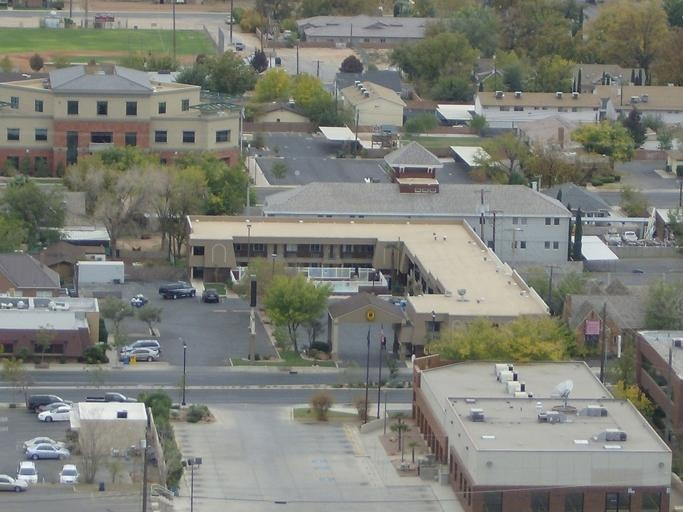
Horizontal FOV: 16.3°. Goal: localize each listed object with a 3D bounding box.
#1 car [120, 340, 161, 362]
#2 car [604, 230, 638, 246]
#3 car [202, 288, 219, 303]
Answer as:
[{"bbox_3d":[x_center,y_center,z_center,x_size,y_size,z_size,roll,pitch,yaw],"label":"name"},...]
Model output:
[{"bbox_3d":[-22.323,10.832,269.655,3.218,1.542,2.341,2,10,-3],"label":"car"},{"bbox_3d":[36.281,-1.786,308.014,3.296,1.163,1.931,-2,13,3],"label":"car"},{"bbox_3d":[-15.460,5.089,285.135,2.004,1.316,1.491,-3,17,-4],"label":"car"}]
